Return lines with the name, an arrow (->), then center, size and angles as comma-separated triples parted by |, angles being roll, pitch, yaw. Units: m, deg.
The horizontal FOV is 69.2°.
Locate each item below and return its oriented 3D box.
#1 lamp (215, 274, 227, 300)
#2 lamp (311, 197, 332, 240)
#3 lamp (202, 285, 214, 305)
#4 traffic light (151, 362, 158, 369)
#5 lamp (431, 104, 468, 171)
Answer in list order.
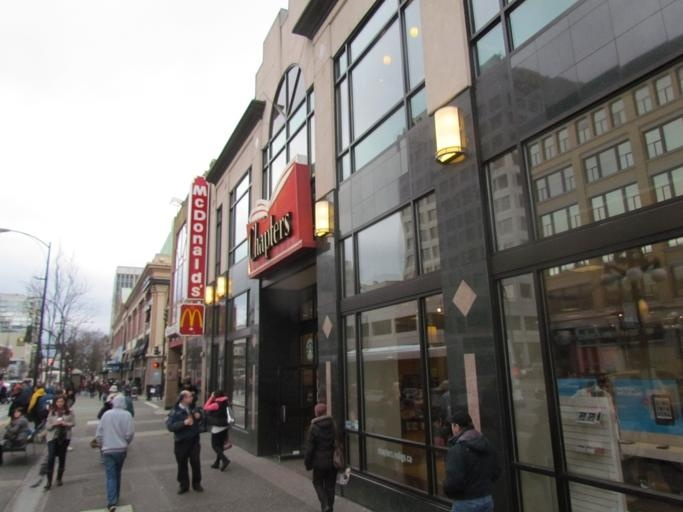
lamp -> -4.959, 1.295, 20.395 | 0.326, 1.036, 1.413 | 5, -17, -20
lamp -> -0.437, -0.967, 12.113 | 0.342, 0.926, 0.553 | 6, -16, -23
lamp -> -5.865, 1.687, 21.997 | 0.212, 0.918, 0.926 | 7, -17, -25
traffic light -> -17.203, 10.050, 45.982 | 0.572, 0.522, 1.671 | 6, -18, -22
lamp -> 1.823, -2.117, 8.492 | 0.477, 0.773, 0.466 | -6, 0, 16
